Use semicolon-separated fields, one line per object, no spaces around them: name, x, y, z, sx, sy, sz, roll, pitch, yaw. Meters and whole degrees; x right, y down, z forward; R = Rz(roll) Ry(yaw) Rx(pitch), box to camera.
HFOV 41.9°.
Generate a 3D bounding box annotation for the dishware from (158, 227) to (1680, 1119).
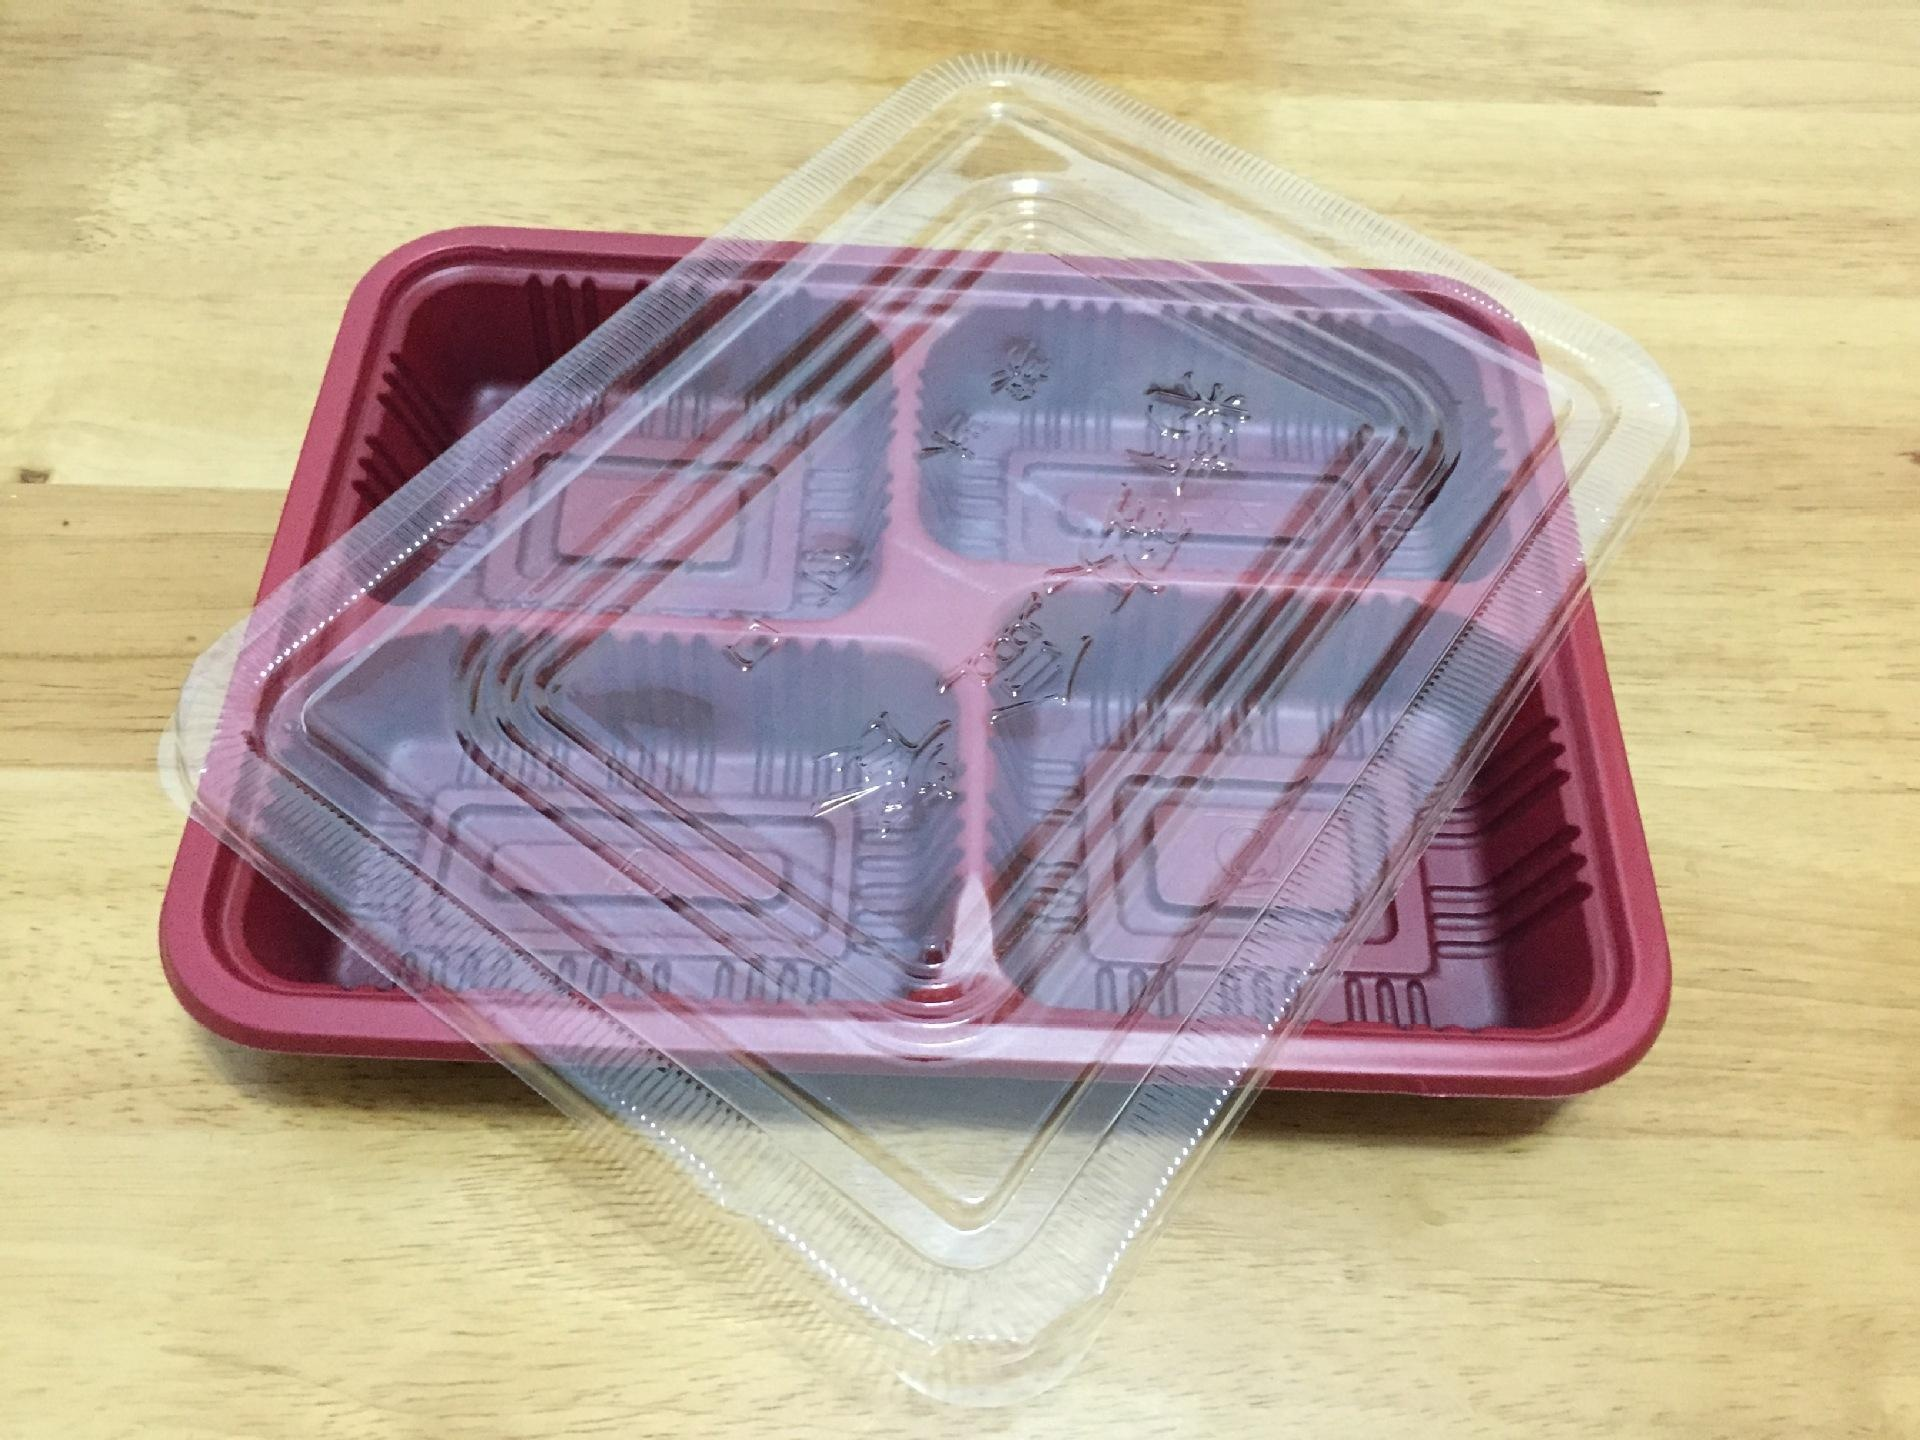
dishware;-0.020;-0.053;1.901;1.073;0.234;0.657;2;54;1
